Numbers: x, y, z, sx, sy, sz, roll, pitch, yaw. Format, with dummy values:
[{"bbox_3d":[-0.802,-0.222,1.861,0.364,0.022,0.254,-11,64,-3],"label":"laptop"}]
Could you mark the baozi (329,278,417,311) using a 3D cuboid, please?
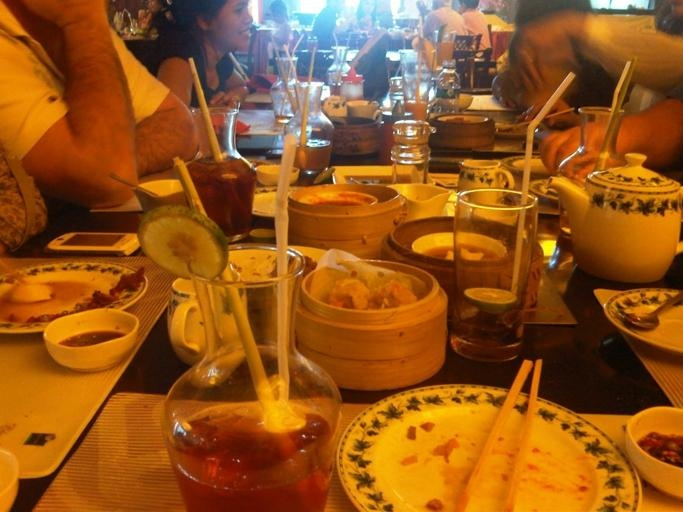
[{"bbox_3d":[0.065,0.076,1.154,0.178,0.049,0.116,3,25,11],"label":"baozi"}]
